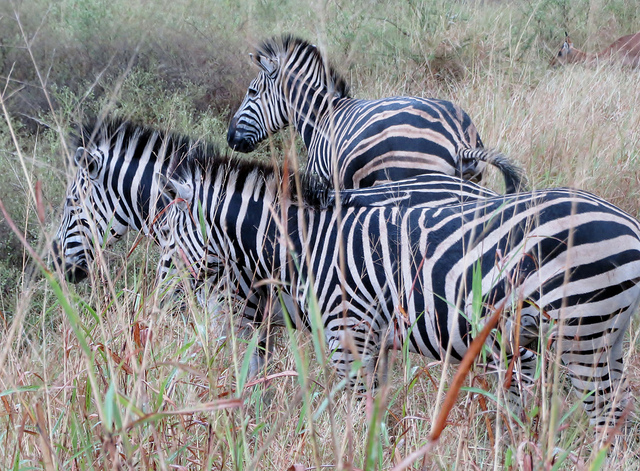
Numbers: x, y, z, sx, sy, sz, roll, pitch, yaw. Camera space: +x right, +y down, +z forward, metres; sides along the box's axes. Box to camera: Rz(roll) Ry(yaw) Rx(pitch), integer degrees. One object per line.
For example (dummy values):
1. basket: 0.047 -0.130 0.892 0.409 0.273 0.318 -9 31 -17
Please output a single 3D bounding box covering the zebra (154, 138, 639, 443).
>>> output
1. zebra: 0.410 0.288 3.822 2.447 1.289 0.717 12 15 21
